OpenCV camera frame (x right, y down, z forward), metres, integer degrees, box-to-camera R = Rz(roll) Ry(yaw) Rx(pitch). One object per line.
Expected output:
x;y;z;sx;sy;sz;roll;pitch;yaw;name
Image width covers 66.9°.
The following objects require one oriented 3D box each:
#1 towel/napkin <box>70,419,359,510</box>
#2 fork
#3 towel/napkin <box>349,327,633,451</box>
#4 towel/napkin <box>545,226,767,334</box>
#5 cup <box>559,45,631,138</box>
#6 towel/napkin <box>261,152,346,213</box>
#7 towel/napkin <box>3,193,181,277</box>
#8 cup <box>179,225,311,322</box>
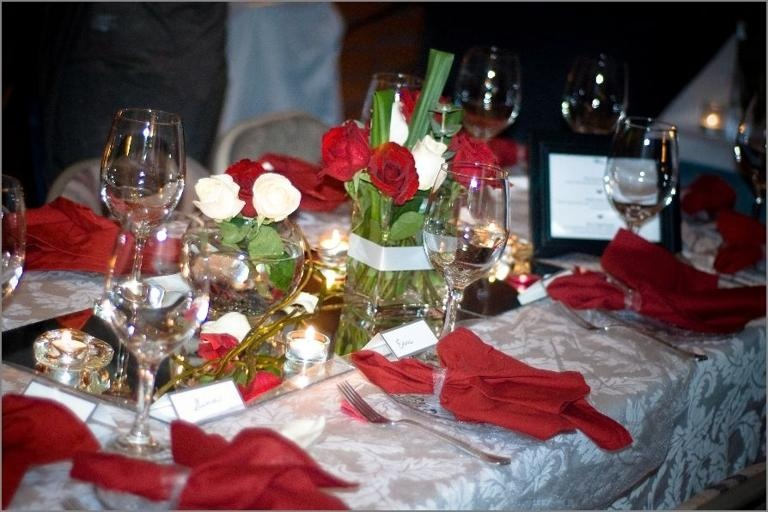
-0.200;0.213;0.691;0.176;0.053;0.178;6;6;30;towel/napkin
0.067;0.260;0.894;0.281;0.042;0.038;18;9;22;fork
0.163;0.184;0.931;0.387;0.074;0.200;19;34;25;towel/napkin
0.600;0.018;1.251;0.333;0.101;0.255;3;9;24;towel/napkin
0.726;-0.558;1.999;0.204;0.269;0.103;7;6;18;cup
-0.170;-0.127;1.242;0.149;0.049;0.143;16;-1;27;towel/napkin
-0.584;-0.034;1.232;0.324;0.210;0.068;5;-24;-7;towel/napkin
-0.237;0.038;1.002;0.176;0.128;0.179;8;-7;1;cup
